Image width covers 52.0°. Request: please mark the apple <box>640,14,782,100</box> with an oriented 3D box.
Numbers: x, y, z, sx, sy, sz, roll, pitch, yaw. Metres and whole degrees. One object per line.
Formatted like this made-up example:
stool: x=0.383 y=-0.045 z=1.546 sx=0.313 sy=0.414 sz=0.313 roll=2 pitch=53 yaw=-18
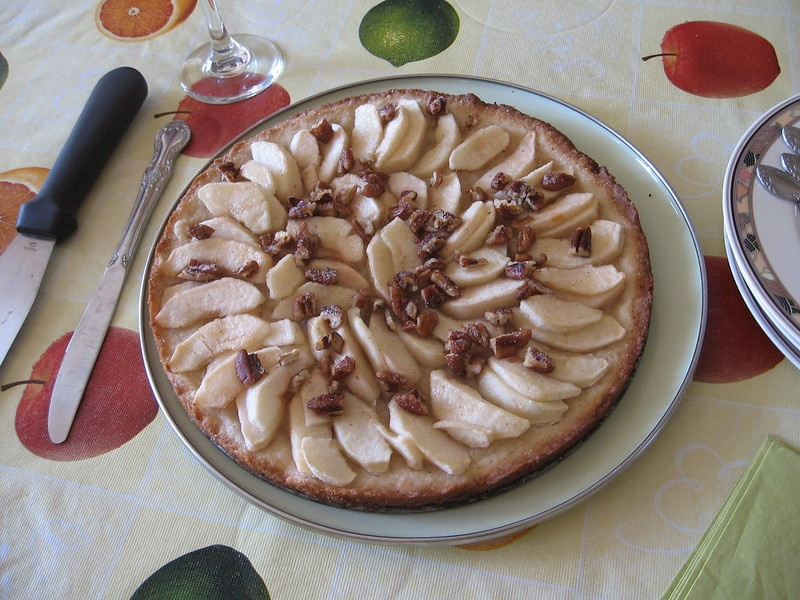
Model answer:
apple: x=1.123 y=-0.844 z=2.999 sx=0.429 sy=0.182 sz=0.273 roll=8 pitch=57 yaw=8
